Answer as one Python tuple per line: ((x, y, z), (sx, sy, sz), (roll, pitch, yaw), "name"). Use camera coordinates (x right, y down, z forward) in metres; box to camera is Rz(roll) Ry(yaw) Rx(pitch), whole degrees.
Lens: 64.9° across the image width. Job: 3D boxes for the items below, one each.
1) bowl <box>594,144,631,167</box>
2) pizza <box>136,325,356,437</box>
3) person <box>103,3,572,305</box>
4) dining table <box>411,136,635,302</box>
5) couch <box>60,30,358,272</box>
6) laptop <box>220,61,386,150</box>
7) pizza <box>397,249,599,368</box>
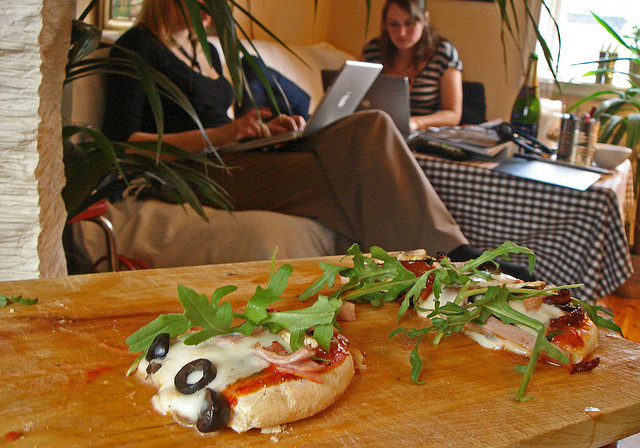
((1.335, -0.317, 2.318), (0.144, 0.064, 0.111), (3, 12, 24), "bowl")
((-0.120, 0.251, 0.817), (0.218, 0.047, 0.202), (-3, 21, -16), "pizza")
((0.039, -0.300, 2.151), (1.943, 1.055, 0.912), (18, 24, 13), "person")
((0.966, 0.032, 2.345), (0.799, 0.463, 0.828), (19, 17, 15), "dining table")
((-0.461, -0.257, 2.067), (0.973, 0.875, 1.011), (5, 10, 28), "couch")
((-0.020, -0.593, 2.408), (0.509, 0.327, 0.510), (16, 18, 26), "laptop")
((0.365, 0.186, 1.052), (0.330, 0.091, 0.207), (18, 24, 19), "pizza")
